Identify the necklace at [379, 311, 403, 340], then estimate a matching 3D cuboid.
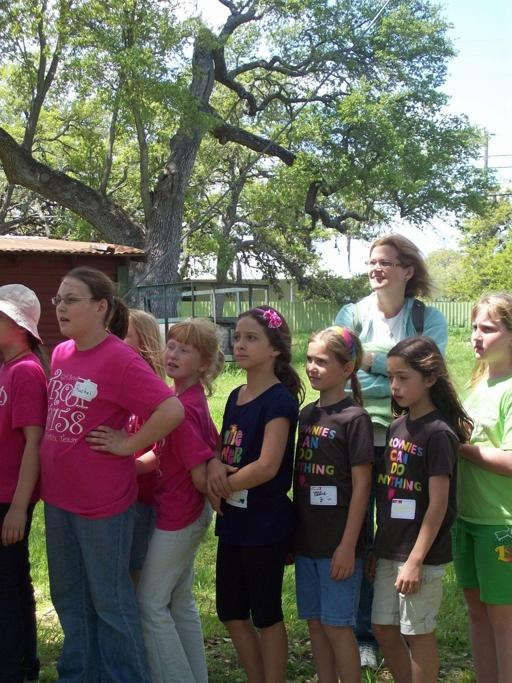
[{"bbox_3d":[0.647,-0.071,3.141,0.158,0.128,0.078,-1,0,21],"label":"necklace"}]
